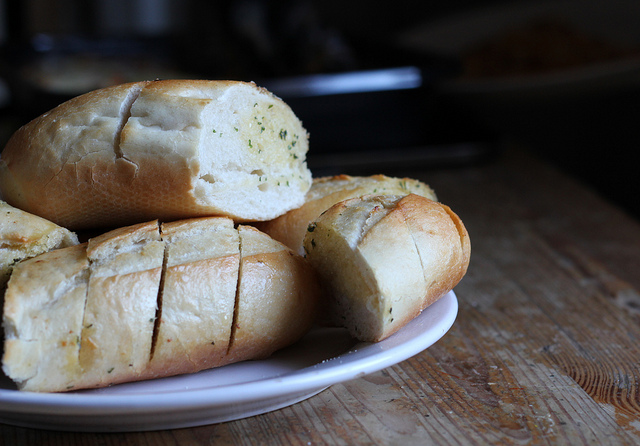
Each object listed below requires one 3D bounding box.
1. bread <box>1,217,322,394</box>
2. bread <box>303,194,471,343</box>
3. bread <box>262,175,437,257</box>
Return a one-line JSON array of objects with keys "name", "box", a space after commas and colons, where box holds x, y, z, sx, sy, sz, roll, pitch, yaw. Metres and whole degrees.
[{"name": "bread", "box": [-0.261, 0.141, 1.032, 0.467, 0.193, 0.228, 1, 48, -22]}, {"name": "bread", "box": [0.123, 0.043, 1.133, 0.249, 0.205, 0.319, 19, 30, 26]}, {"name": "bread", "box": [0.046, -0.040, 1.226, 0.257, 0.078, 0.189, -4, 21, -1]}]
